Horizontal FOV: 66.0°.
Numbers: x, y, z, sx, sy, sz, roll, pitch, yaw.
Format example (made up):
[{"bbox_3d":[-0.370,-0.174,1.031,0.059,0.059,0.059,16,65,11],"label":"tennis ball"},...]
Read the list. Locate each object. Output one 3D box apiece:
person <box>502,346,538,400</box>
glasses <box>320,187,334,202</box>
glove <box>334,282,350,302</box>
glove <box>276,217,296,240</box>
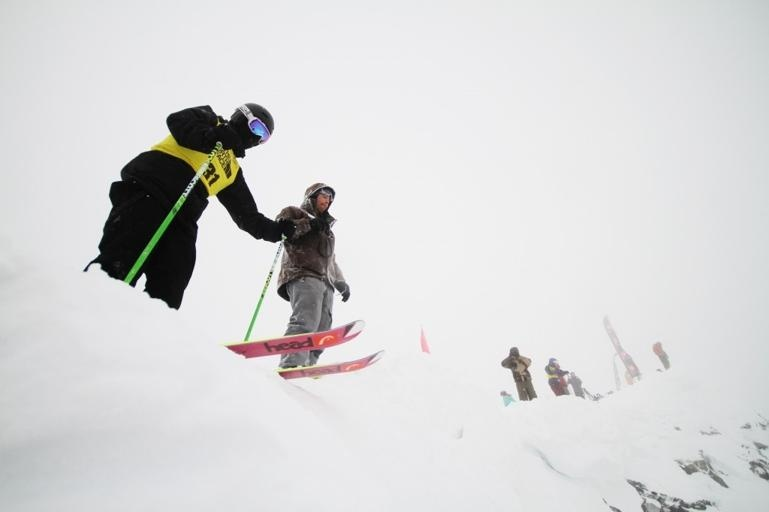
[{"bbox_3d":[2.210,1.913,9.512,0.503,0.957,0.671,2,-27,-1],"label":"person"},{"bbox_3d":[-0.788,-0.871,8.612,0.170,0.205,0.068,19,-5,1],"label":"glasses"},{"bbox_3d":[-0.607,0.535,8.873,0.202,0.276,0.108,9,15,28],"label":"glove"},{"bbox_3d":[-1.232,-0.343,7.613,0.171,0.291,0.280,-8,-28,18],"label":"glove"}]
